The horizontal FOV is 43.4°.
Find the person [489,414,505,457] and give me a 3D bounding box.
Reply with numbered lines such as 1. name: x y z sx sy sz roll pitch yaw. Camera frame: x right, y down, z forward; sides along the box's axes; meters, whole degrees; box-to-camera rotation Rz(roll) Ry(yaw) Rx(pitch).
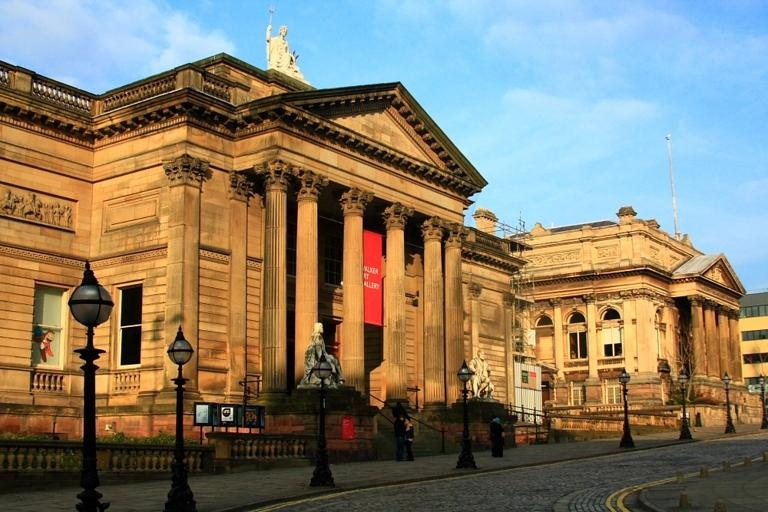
1. person: 6.156 9.908 52.510 0.587 2.084 0.787 -1 -17 -2
